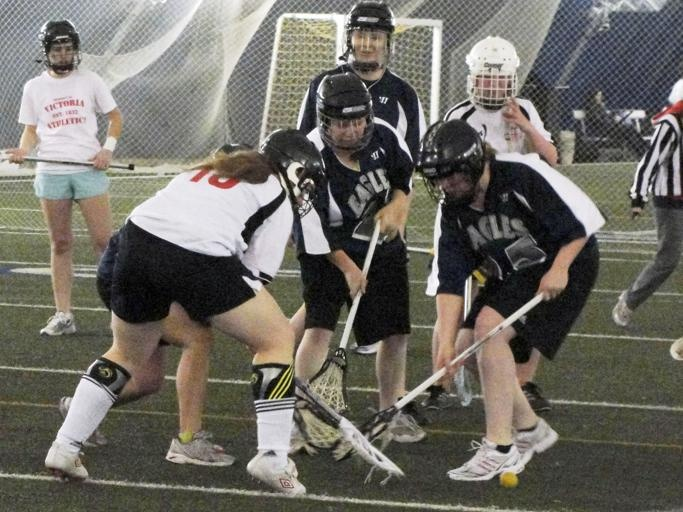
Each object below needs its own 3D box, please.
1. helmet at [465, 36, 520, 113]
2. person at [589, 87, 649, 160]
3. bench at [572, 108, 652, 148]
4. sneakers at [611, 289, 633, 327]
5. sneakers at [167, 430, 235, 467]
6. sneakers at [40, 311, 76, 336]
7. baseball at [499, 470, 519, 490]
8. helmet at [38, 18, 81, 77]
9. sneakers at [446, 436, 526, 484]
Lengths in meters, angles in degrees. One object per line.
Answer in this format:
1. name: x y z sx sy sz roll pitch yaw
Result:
1. helmet: 1.047 -1.240 5.613 0.401 0.477 0.480 -1 23 5
2. person: 4.247 -2.004 12.260 0.975 1.160 0.934 1 8 11
3. bench: 4.257 -1.840 12.113 0.610 0.267 0.763 15 -8 -44
4. sneakers: 2.216 0.429 6.429 0.137 0.303 0.147 -1 17 -6
5. sneakers: -0.774 1.072 4.501 0.396 0.188 0.168 5 0 -9
6. sneakers: -2.100 0.513 6.084 0.127 0.144 0.304 1 -2 37
7. baseball: 0.885 1.185 4.307 0.080 0.083 0.081 27 55 -6
8. helmet: -2.128 -1.571 6.082 0.315 0.384 0.385 -10 21 -21
9. sneakers: 0.810 1.072 4.364 0.489 0.249 0.183 -5 7 2
